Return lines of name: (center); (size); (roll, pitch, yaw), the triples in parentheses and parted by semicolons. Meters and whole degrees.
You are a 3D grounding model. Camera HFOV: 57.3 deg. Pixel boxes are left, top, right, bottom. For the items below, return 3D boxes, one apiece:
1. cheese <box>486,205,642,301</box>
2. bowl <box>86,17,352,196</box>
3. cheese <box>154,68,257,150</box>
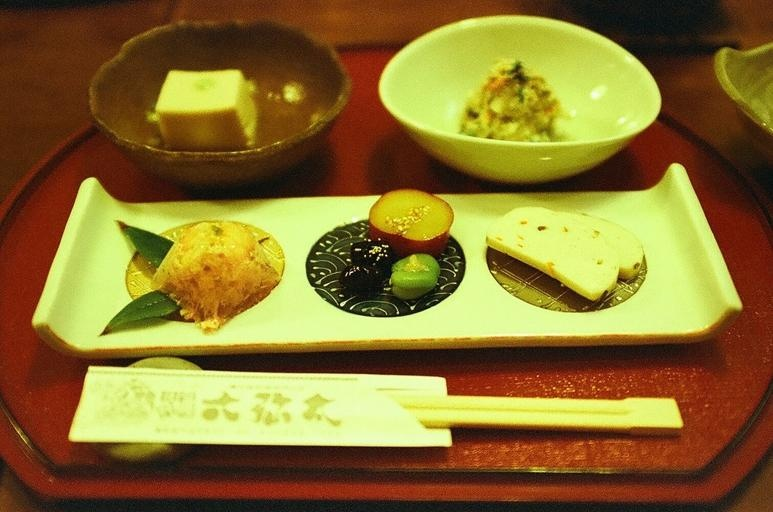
cheese: (0.520, -0.058, 2.269); (0.473, 0.256, 0.482); (-5, 16, 4)
bowl: (-0.588, -0.486, 2.399); (0.845, 0.301, 0.768); (4, 44, 1)
cheese: (-0.609, -0.492, 2.427); (0.300, 0.188, 0.271); (-1, 59, -2)
